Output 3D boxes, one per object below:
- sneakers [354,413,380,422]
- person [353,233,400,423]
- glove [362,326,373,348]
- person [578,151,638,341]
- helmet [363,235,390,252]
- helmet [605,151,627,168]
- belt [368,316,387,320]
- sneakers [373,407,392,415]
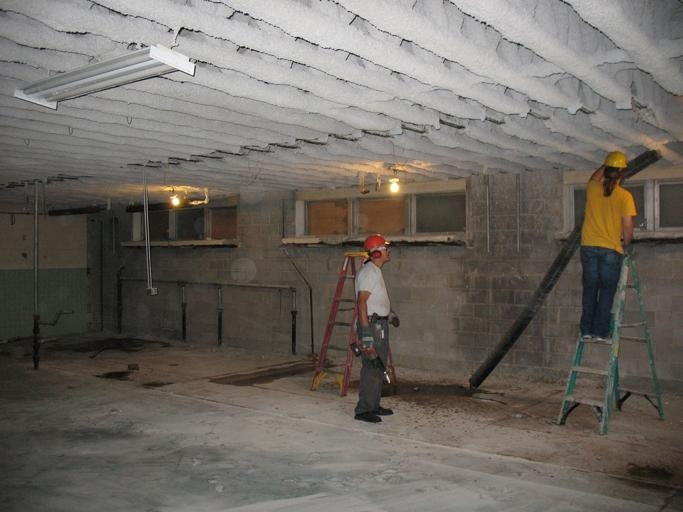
[{"bbox_3d":[0.322,1.916,6.242,0.274,0.095,0.106,-2,-6,22],"label":"sneakers"},{"bbox_3d":[0.408,0.846,6.466,0.480,2.232,0.784,0,2,4],"label":"person"},{"bbox_3d":[0.313,0.960,6.148,0.149,0.263,0.132,-1,2,-20],"label":"glove"},{"bbox_3d":[3.107,-0.132,6.047,0.555,2.192,0.530,1,2,24],"label":"person"},{"bbox_3d":[0.456,-0.173,6.643,0.295,0.156,0.212,-17,12,4],"label":"helmet"},{"bbox_3d":[3.184,-1.118,6.031,0.218,0.233,0.258,0,2,22],"label":"helmet"},{"bbox_3d":[0.452,0.756,6.353,0.083,0.030,0.097,-2,-5,44],"label":"belt"},{"bbox_3d":[0.529,1.914,6.426,0.207,0.064,0.099,-2,-1,11],"label":"sneakers"}]
